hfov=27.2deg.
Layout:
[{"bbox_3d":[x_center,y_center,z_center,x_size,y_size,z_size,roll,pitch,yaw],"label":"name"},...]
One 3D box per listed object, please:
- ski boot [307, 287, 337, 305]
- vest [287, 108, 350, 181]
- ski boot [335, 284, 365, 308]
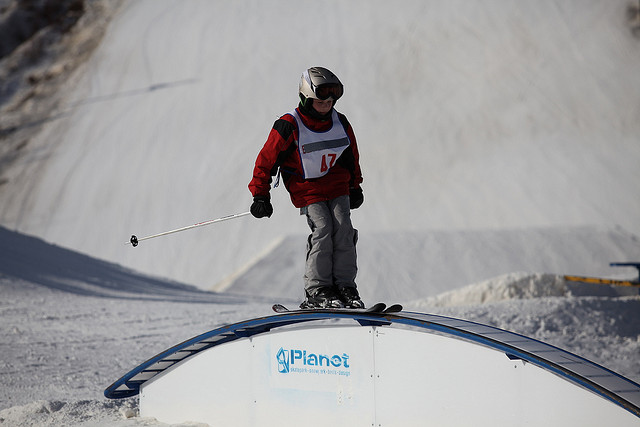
[{"bbox_3d":[0.038,0.812,12.831,0.278,0.081,0.169,-14,62,-1],"label":"ski boot"},{"bbox_3d":[-0.002,-0.739,13.027,0.606,0.763,0.515,-19,28,-37],"label":"vest"},{"bbox_3d":[0.364,0.785,12.842,0.378,0.173,0.147,14,95,18],"label":"ski boot"}]
